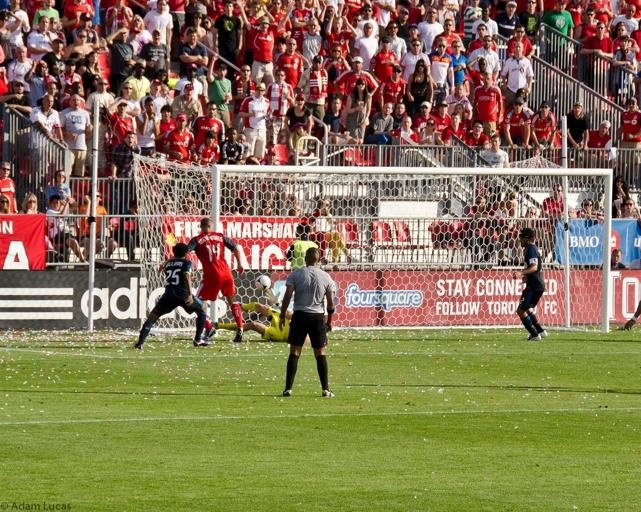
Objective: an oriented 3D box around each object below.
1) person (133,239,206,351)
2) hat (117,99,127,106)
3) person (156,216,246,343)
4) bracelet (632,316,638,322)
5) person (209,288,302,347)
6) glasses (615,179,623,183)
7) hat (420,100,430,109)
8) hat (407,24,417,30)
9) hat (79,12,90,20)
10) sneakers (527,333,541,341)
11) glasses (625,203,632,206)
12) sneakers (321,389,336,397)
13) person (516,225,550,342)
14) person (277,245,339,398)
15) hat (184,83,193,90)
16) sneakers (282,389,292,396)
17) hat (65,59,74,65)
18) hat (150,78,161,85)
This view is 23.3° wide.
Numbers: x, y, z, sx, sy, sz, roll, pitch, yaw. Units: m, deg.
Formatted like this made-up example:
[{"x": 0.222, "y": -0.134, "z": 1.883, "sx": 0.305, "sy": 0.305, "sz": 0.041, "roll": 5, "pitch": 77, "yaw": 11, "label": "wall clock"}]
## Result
[{"x": -2.711, "y": 0.740, "z": 28.317, "sx": 1.093, "sy": 1.893, "sz": 0.993, "roll": 0, "pitch": 0, "yaw": 17, "label": "person"}, {"x": -4.320, "y": -3.328, "z": 33.934, "sx": 0.187, "sy": 0.165, "sz": 0.447, "roll": 0, "pitch": -1, "yaw": 2, "label": "hat"}, {"x": -2.352, "y": 0.525, "z": 29.653, "sx": 1.356, "sy": 3.335, "sz": 1.025, "roll": -10, "pitch": 23, "yaw": -14, "label": "person"}, {"x": 6.543, "y": 1.324, "z": 32.301, "sx": 0.142, "sy": 0.057, "sz": 0.207, "roll": 0, "pitch": -8, "yaw": 8, "label": "bracelet"}, {"x": -1.269, "y": 1.084, "z": 29.626, "sx": 1.644, "sy": 1.119, "sz": 1.047, "roll": 8, "pitch": -3, "yaw": -21, "label": "person"}, {"x": 6.979, "y": -1.714, "z": 36.171, "sx": 0.132, "sy": 0.105, "sz": 0.077, "roll": 0, "pitch": 0, "yaw": 22, "label": "glasses"}, {"x": 2.463, "y": -3.501, "z": 36.404, "sx": 0.149, "sy": 0.234, "sz": 0.219, "roll": -2, "pitch": 15, "yaw": 8, "label": "hat"}, {"x": 2.316, "y": -5.725, "z": 39.258, "sx": 0.229, "sy": 0.116, "sz": 0.298, "roll": 0, "pitch": -1, "yaw": 1, "label": "hat"}, {"x": -5.477, "y": -5.562, "z": 36.146, "sx": 0.185, "sy": 0.178, "sz": 0.309, "roll": 2, "pitch": 4, "yaw": -11, "label": "hat"}, {"x": 4.200, "y": 1.618, "z": 30.453, "sx": 0.278, "sy": 0.141, "sz": 0.110, "roll": 0, "pitch": 2, "yaw": -5, "label": "sneakers"}, {"x": 6.934, "y": -1.128, "z": 34.891, "sx": 0.097, "sy": 0.056, "sz": 0.036, "roll": 0, "pitch": 0, "yaw": 12, "label": "glasses"}, {"x": 0.134, "y": 2.064, "z": 23.178, "sx": 0.075, "sy": 0.100, "sz": 0.201, "roll": 3, "pitch": 5, "yaw": 20, "label": "sneakers"}, {"x": 4.064, "y": 0.587, "z": 30.113, "sx": 0.501, "sy": 2.169, "sz": 1.047, "roll": 0, "pitch": 0, "yaw": 18, "label": "person"}, {"x": -0.188, "y": 1.007, "z": 23.234, "sx": 0.797, "sy": 2.230, "sz": 0.785, "roll": 0, "pitch": 0, "yaw": -2, "label": "person"}, {"x": -2.966, "y": -3.752, "z": 34.905, "sx": 0.211, "sy": 0.212, "sz": 0.384, "roll": 0, "pitch": -1, "yaw": -6, "label": "hat"}, {"x": -0.490, "y": 2.052, "z": 23.133, "sx": 0.072, "sy": 0.127, "sz": 0.112, "roll": 3, "pitch": -8, "yaw": -40, "label": "sneakers"}, {"x": -5.584, "y": -4.251, "z": 34.595, "sx": 0.194, "sy": 0.157, "sz": 0.341, "roll": 0, "pitch": -1, "yaw": -10, "label": "hat"}, {"x": -3.714, "y": -3.862, "z": 35.064, "sx": 0.203, "sy": 0.222, "sz": 0.150, "roll": 1, "pitch": -5, "yaw": 36, "label": "hat"}]
